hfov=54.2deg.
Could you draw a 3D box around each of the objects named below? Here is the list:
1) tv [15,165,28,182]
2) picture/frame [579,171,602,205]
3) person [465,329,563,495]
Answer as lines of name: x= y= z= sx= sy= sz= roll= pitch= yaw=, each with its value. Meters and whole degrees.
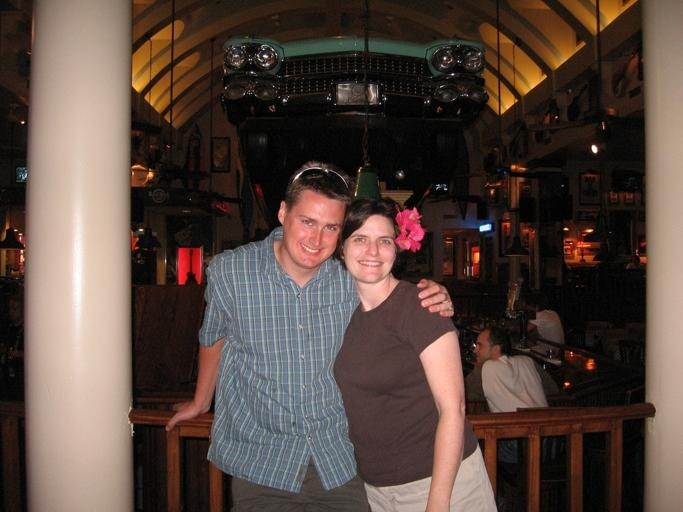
tv: x=-2.749 y=-0.690 z=5.732 sx=0.073 sy=0.139 sz=0.200 roll=2 pitch=-1 yaw=-19
picture/frame: x=6.289 y=-1.698 z=16.989 sx=0.504 sy=0.825 sz=0.305 roll=0 pitch=-2 yaw=27
person: x=1.642 y=1.466 z=6.610 sx=0.646 sy=1.520 sz=0.630 roll=1 pitch=18 yaw=17
